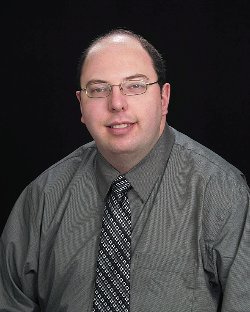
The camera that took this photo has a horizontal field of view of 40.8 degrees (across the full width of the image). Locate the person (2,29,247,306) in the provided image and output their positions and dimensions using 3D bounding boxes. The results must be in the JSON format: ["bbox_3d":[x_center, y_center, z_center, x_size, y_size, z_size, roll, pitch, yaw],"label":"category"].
[{"bbox_3d":[-0.091,0.074,1.660,1.167,1.318,0.628,-18,-28,23],"label":"person"}]
